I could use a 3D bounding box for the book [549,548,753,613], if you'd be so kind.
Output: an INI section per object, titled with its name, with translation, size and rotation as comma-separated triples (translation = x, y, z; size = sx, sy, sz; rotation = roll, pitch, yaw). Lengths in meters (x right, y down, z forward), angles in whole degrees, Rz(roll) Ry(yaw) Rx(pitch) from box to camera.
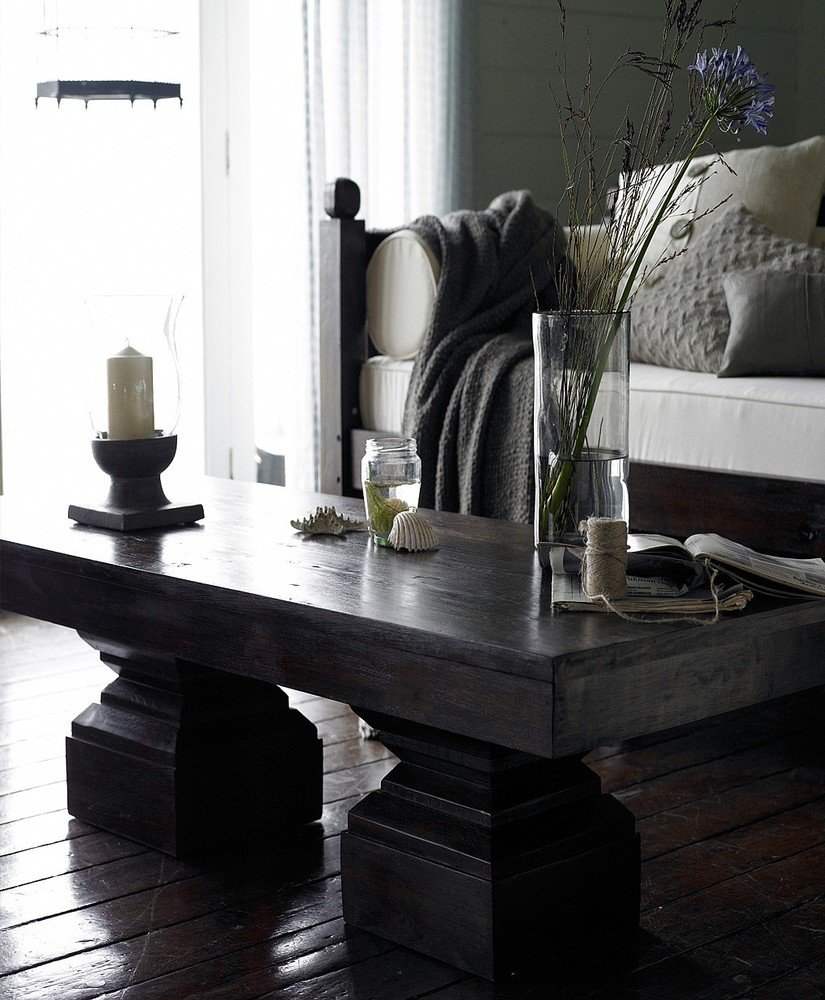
[book]
translation = 0.202, 0.079, 0.785
size = 0.166, 0.019, 0.172
rotation = 0, 9, 12
